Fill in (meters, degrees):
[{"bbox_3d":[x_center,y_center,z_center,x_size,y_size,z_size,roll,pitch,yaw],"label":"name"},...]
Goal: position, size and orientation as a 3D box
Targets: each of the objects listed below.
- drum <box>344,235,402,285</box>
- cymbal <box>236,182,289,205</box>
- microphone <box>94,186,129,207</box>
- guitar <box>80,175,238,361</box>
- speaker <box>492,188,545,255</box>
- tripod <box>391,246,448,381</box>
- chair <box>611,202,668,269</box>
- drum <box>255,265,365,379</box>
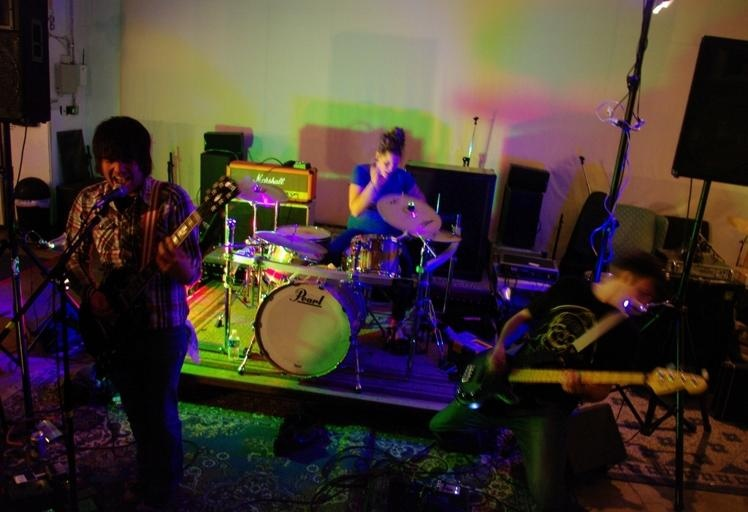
[{"bbox_3d":[-0.023,0.026,5.144,0.427,0.351,0.362,2,2,5],"label":"drum"},{"bbox_3d":[-0.990,-0.601,5.243,0.277,0.068,0.278,-20,41,-35],"label":"cymbal"},{"bbox_3d":[-1.724,-0.384,3.849,0.188,0.058,0.056,-41,-9,-24],"label":"microphone"},{"bbox_3d":[-1.488,0.086,3.970,0.947,1.239,0.326,-1,14,-15],"label":"guitar"},{"bbox_3d":[1.713,-0.426,6.970,0.495,0.946,0.488,13,15,12],"label":"speaker"},{"bbox_3d":[0.453,0.375,5.757,0.531,1.250,1.095,4,14,3],"label":"tripod"},{"bbox_3d":[2.790,-0.198,6.192,0.421,0.595,0.474,21,-8,17],"label":"chair"},{"bbox_3d":[-0.595,0.546,5.199,0.827,0.935,0.726,7,22,-2],"label":"drum"}]
